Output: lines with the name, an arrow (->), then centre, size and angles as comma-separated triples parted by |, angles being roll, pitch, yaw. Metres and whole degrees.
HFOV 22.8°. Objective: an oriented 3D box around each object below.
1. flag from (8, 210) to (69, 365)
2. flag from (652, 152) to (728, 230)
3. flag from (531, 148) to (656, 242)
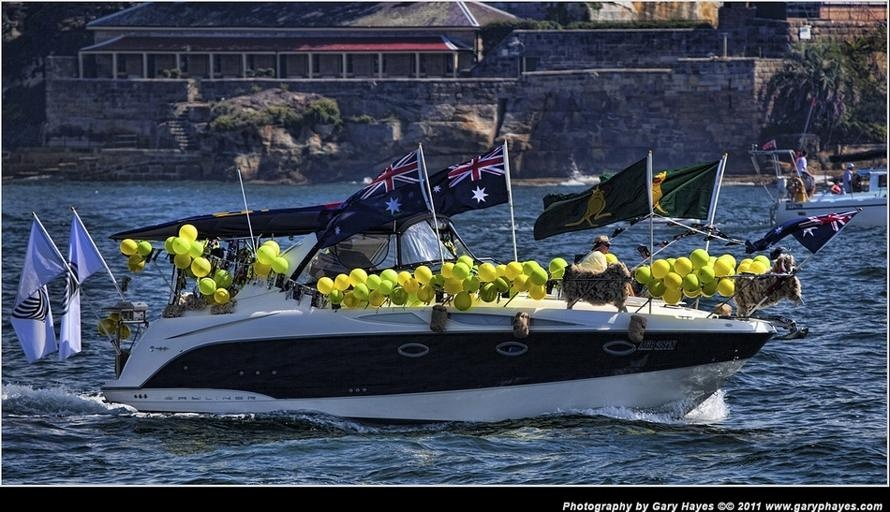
flag -> -26.172, 1.909, 144.361 | 3.604, 9.171, 3.513 | 6, -2, 7
flag -> 15.923, -3.947, 142.714 | 2.984, 5.566, 8.821 | 3, 1, 44
flag -> 10.097, -3.849, 142.163 | 6.710, 5.229, 0.628 | 0, 4, 2
